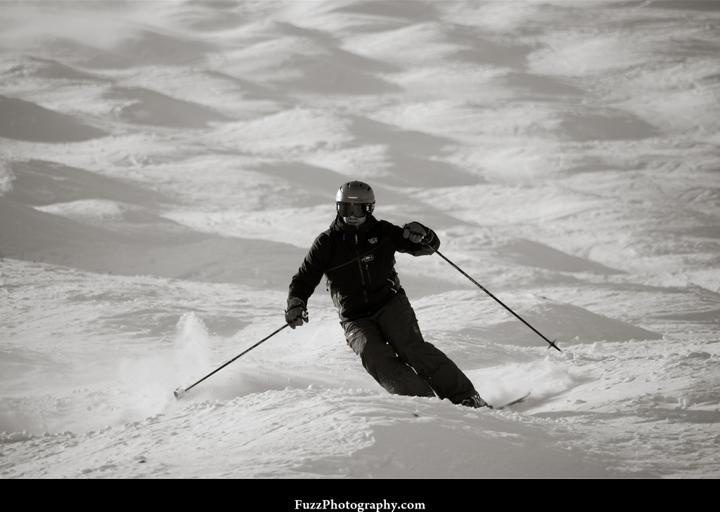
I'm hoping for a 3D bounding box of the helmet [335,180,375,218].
[{"bbox_3d":[-0.048,-0.720,12.841,0.496,0.358,0.535,0,-2,2],"label":"helmet"}]

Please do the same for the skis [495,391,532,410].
[{"bbox_3d":[2.278,2.131,14.561,0.755,0.075,0.225,-10,14,-34],"label":"skis"}]

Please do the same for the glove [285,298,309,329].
[{"bbox_3d":[-0.795,0.731,12.731,0.364,0.364,0.181,-6,0,5],"label":"glove"}]
